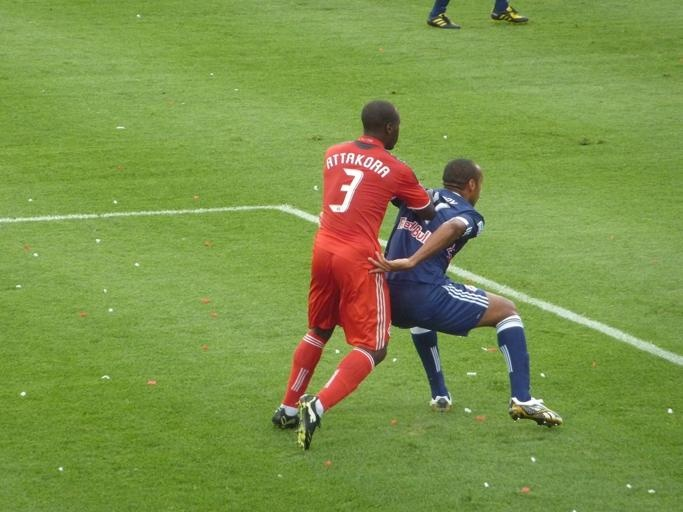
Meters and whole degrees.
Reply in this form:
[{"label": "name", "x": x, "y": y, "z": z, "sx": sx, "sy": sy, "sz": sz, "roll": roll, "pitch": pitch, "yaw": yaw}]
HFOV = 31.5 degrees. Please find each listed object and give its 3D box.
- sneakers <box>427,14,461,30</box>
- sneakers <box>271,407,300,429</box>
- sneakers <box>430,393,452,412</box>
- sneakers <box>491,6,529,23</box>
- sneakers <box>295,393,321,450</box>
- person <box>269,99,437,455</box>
[{"label": "sneakers", "x": 1.494, "y": -3.484, "z": 17.779, "sx": 0.572, "sy": 0.222, "sz": 0.182, "roll": 4, "pitch": 37, "yaw": 3}, {"label": "sneakers", "x": -0.455, "y": 1.380, "z": 10.325, "sx": 0.277, "sy": 0.156, "sz": 0.134, "roll": 17, "pitch": 11, "yaw": -2}, {"label": "sneakers", "x": 0.874, "y": 1.272, "z": 10.527, "sx": 0.175, "sy": 0.144, "sz": 0.131, "roll": 11, "pitch": 12, "yaw": 12}, {"label": "sneakers", "x": 2.473, "y": -3.581, "z": 17.876, "sx": 0.633, "sy": 0.265, "sz": 0.208, "roll": 4, "pitch": 22, "yaw": -6}, {"label": "sneakers", "x": -0.290, "y": 1.340, "z": 9.745, "sx": 0.240, "sy": 0.437, "sz": 0.169, "roll": 6, "pitch": 3, "yaw": -7}, {"label": "person", "x": 0.066, "y": 0.196, "z": 9.972, "sx": 0.853, "sy": 2.754, "sz": 1.430, "roll": 13, "pitch": 24, "yaw": -2}]
